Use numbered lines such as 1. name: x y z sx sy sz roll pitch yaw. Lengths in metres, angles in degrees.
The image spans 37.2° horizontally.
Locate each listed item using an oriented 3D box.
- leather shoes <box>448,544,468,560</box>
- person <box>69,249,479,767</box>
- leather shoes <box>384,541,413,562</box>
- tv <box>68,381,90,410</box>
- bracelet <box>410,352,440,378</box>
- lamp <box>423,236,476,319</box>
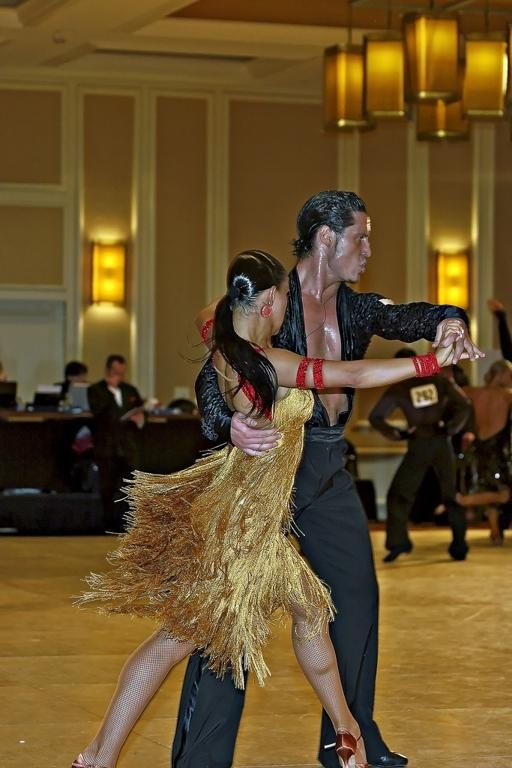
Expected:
1. leather shoes: 1.346 1.124 5.109 0.114 0.112 0.118 4 -10 13
2. person: 0.017 0.229 1.334 0.582 0.896 0.386 -2 0 33
3. leather shoes: 0.954 1.124 5.108 0.190 0.078 0.063 -32 15 -9
4. tv: -1.418 0.093 6.158 0.215 0.263 0.204 1 -3 0
5. bracelet: 0.281 -0.032 1.262 0.044 0.040 0.019 -9 -10 3
6. lamp: 2.187 -1.142 8.638 0.637 0.764 0.650 1 5 44
